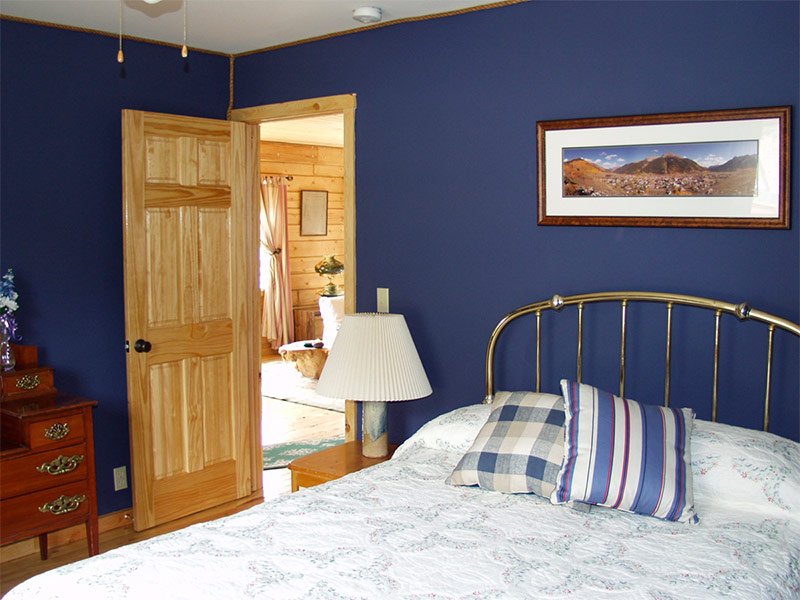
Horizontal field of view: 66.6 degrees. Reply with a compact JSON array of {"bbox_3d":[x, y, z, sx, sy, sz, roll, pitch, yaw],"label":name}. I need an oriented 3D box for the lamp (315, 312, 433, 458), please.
[{"bbox_3d":[-0.136,0.396,3.469,0.729,0.731,0.701,-4,8,-28],"label":"lamp"}]

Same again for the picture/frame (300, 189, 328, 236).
[{"bbox_3d":[-1.348,-1.364,9.397,0.077,0.828,0.762,4,6,40],"label":"picture/frame"}]

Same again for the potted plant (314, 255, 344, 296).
[{"bbox_3d":[-1.016,-0.351,9.068,0.458,0.558,0.429,0,6,23],"label":"potted plant"}]
